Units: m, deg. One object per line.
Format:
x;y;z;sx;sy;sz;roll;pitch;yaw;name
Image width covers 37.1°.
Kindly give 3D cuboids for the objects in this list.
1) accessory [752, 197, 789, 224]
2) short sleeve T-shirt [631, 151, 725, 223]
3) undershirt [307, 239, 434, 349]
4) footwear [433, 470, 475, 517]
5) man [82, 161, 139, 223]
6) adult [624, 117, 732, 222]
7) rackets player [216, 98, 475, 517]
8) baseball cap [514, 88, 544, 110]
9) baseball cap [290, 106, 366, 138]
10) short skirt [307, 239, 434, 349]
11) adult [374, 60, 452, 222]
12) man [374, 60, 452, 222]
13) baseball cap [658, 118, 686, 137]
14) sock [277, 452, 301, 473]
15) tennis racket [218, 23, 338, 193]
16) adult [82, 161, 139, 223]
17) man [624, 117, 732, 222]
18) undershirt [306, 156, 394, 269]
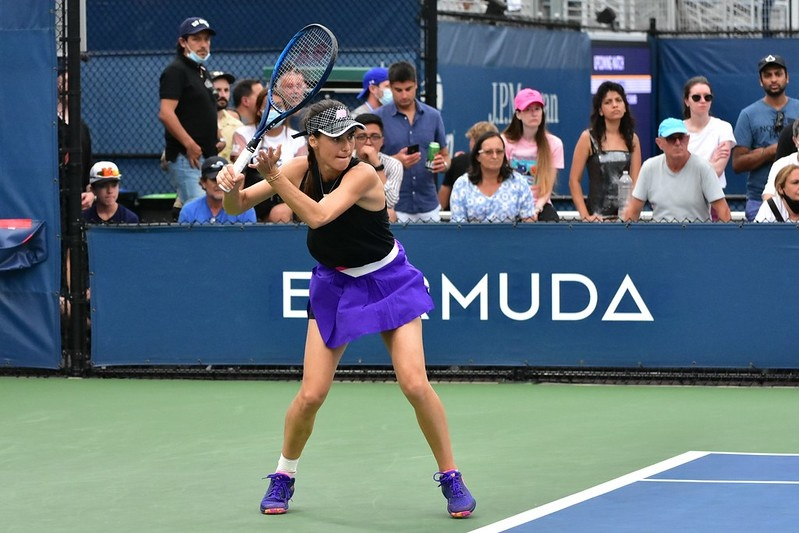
3.705;-0.527;11.882;0.309;0.281;0.298;-1;11;20;accessory
2.867;-0.756;12.184;1.175;0.879;0.623;0;4;17;short sleeve T-shirt
-0.247;0.130;9.128;0.972;0.845;0.548;-7;16;1;undershirt
0.423;1.710;8.952;0.314;0.351;0.227;-1;13;-1;footwear
-3.217;-0.795;13.021;0.723;0.760;0.618;-2;-2;-19;man
2.811;-0.853;11.997;1.348;1.238;0.746;-1;4;35;adult
-0.327;0.327;8.919;1.472;3.067;0.702;0;13;2;rackets player
1.364;-1.806;12.905;0.250;0.185;0.335;-7;-5;-10;baseball cap
-0.494;-1.033;8.684;0.385;0.138;0.250;-14;-4;34;baseball cap
-0.246;0.138;9.137;0.962;0.855;0.540;-6;13;1;short skirt
0.094;-0.936;13.154;0.828;2.486;0.788;-4;20;-11;adult
0.134;-0.911;13.151;0.863;2.495;0.800;-7;18;-19;man
2.732;-1.365;11.908;0.249;0.195;0.345;1;13;7;baseball cap
-0.854;1.512;9.100;0.172;0.171;0.138;2;-4;25;sock
-0.962;-1.312;9.312;0.585;1.505;0.115;35;2;36;tennis racket
-3.200;-0.772;12.901;0.310;0.682;0.616;10;17;40;adult
2.795;-0.848;12.003;1.287;1.238;0.728;-2;3;28;man
-0.303;-0.384;9.092;0.442;0.702;0.526;-19;-7;-16;undershirt
